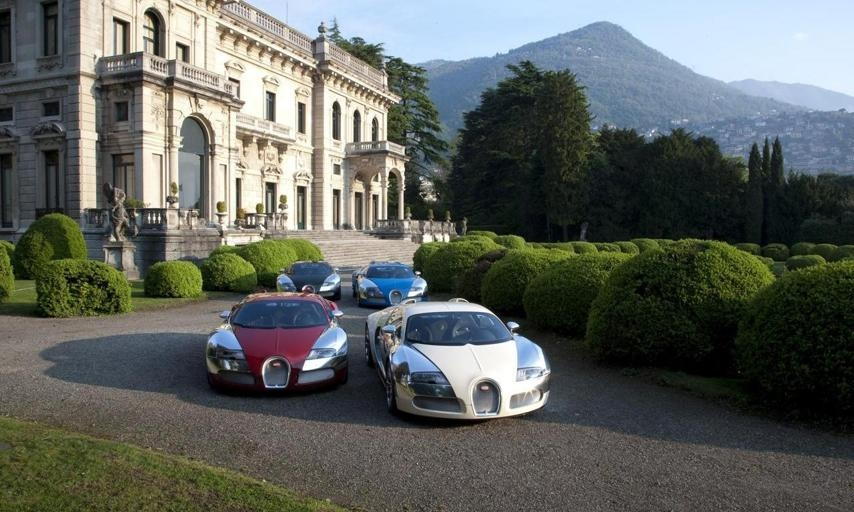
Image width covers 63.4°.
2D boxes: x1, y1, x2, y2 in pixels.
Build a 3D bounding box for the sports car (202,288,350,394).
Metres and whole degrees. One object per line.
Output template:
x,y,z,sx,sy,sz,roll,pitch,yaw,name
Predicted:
-3.786,2.299,17.656,3.293,2.027,1.703,0,3,-14,sports car
